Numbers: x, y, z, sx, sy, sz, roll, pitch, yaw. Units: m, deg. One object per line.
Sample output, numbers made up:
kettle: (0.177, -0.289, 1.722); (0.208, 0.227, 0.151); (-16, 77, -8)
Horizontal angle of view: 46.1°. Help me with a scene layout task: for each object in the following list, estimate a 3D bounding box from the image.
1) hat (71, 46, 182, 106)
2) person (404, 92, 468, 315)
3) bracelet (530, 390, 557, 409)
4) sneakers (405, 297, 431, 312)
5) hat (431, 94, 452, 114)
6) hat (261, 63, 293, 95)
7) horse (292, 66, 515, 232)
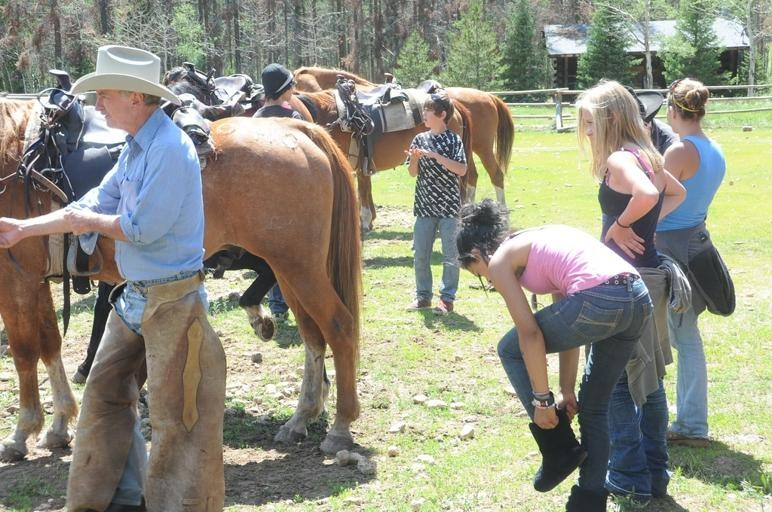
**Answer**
hat: (-1.975, -1.332, 6.711); (0.522, 0.243, 0.448); (-5, 3, -21)
person: (0.579, -0.577, 10.178); (0.654, 2.523, 0.762); (-2, 9, 2)
bracelet: (1.201, 1.068, 6.886); (0.164, 0.104, 0.166); (-1, -2, -39)
sneakers: (0.391, 0.573, 10.603); (0.310, 0.131, 0.121); (0, 3, -10)
hat: (0.614, -1.668, 9.920); (0.232, 0.226, 0.170); (-1, 9, 3)
hat: (-1.131, -1.816, 9.440); (0.325, 0.355, 0.300); (-3, 9, -7)
horse: (0.018, -1.648, 13.684); (4.626, 2.635, 1.039); (-9, 14, -28)
